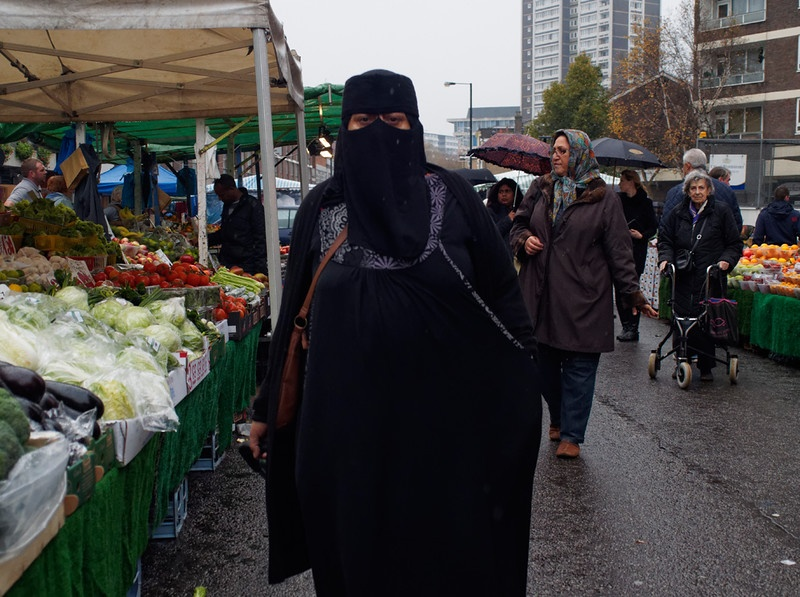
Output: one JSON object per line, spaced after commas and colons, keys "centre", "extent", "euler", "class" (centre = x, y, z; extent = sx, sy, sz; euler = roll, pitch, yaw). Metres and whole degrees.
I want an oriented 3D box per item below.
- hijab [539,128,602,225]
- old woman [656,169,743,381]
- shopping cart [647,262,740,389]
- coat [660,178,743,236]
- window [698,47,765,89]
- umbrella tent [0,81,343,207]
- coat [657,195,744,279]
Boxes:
{"centre": [1.620, -1.104, 5.534], "extent": [0.425, 0.877, 0.429], "euler": [2, 7, 12], "class": "hijab"}
{"centre": [3.978, -0.316, 8.029], "extent": [0.915, 2.652, 0.928], "euler": [4, 22, 34], "class": "old woman"}
{"centre": [3.810, 0.319, 7.826], "extent": [1.280, 1.444, 0.884], "euler": [-3, 4, -31], "class": "shopping cart"}
{"centre": [5.094, -1.582, 10.021], "extent": [1.312, 1.171, 0.755], "euler": [-1, 21, 13], "class": "coat"}
{"centre": [22.437, -15.583, 40.562], "extent": [3.679, 2.342, 0.289], "euler": [-5, -8, 0], "class": "window"}
{"centre": [-4.020, -2.656, 10.327], "extent": [4.390, 1.244, 4.240], "euler": [-2, 3, 25], "class": "umbrella tent"}
{"centre": [4.008, -0.818, 8.022], "extent": [1.238, 1.375, 0.728], "euler": [3, 3, 37], "class": "coat"}
